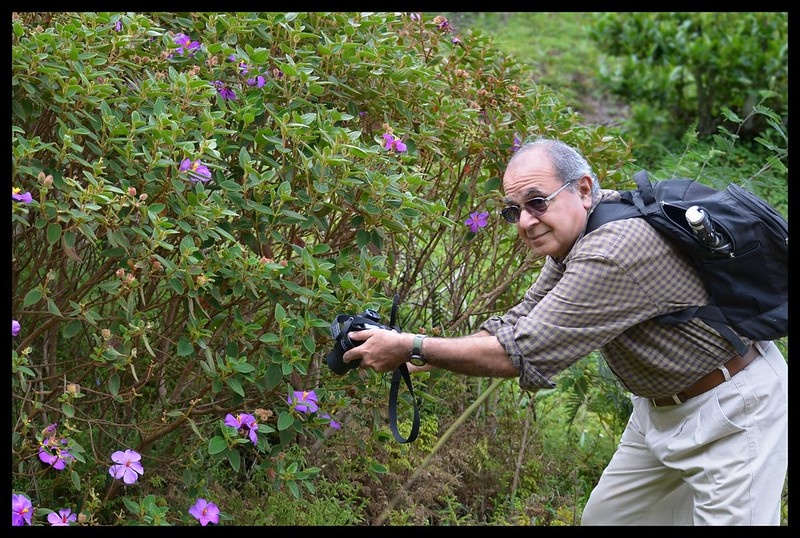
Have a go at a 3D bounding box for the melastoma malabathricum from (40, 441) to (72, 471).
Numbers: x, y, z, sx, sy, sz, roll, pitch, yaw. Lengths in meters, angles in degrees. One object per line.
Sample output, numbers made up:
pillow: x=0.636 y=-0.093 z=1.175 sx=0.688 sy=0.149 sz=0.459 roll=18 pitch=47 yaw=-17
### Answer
melastoma malabathricum: x=-1.467 y=0.792 z=2.911 sx=0.135 sy=0.133 sz=0.095 roll=13 pitch=18 yaw=-21

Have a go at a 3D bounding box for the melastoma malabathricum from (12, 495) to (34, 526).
melastoma malabathricum: x=-1.584 y=1.016 z=2.862 sx=0.075 sy=0.137 sz=0.091 roll=7 pitch=21 yaw=-37

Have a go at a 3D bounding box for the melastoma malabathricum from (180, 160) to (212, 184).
melastoma malabathricum: x=-0.885 y=-0.427 z=2.951 sx=0.132 sy=0.101 sz=0.089 roll=18 pitch=17 yaw=-7

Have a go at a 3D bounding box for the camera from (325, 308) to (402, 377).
camera: x=-0.201 y=0.329 z=3.014 sx=0.133 sy=0.287 sz=0.292 roll=43 pitch=10 yaw=12

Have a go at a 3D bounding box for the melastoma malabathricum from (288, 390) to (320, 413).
melastoma malabathricum: x=-0.432 y=0.592 z=3.073 sx=0.109 sy=0.033 sz=0.101 roll=-5 pitch=38 yaw=-39

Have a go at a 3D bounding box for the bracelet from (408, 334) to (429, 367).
bracelet: x=0.077 y=0.346 z=2.914 sx=0.079 sy=0.130 sz=0.123 roll=1 pitch=49 yaw=10

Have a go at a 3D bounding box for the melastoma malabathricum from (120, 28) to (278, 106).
melastoma malabathricum: x=-0.905 y=-0.988 z=3.371 sx=0.457 sy=0.296 sz=0.163 roll=22 pitch=-1 yaw=-37

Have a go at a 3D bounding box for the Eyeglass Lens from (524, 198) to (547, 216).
Eyeglass Lens: x=0.604 y=-0.277 z=3.031 sx=0.077 sy=0.035 sz=0.081 roll=-8 pitch=2 yaw=32

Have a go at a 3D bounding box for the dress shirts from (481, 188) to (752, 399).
dress shirts: x=0.919 y=0.111 z=3.218 sx=0.793 sy=1.064 sz=0.709 roll=61 pitch=8 yaw=-28
